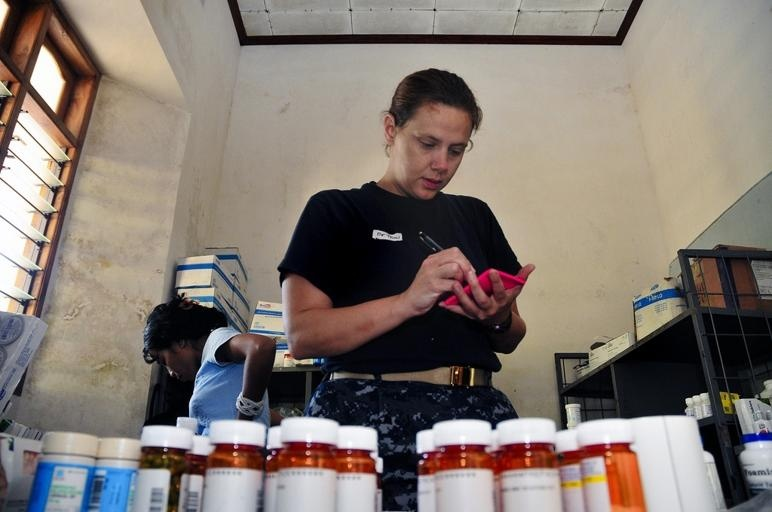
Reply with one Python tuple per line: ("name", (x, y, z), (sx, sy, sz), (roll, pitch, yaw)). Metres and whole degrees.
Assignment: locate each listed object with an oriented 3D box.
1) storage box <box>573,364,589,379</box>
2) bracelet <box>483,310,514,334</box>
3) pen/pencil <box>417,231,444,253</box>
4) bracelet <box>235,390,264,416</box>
("storage box", (1.302, 0.751, 3.282), (0.071, 0.093, 0.097), (5, -6, -42))
("bracelet", (0.330, 0.194, 1.395), (0.060, 0.066, 0.029), (-26, -56, 24))
("pen/pencil", (0.131, -0.043, 1.483), (0.021, 0.069, 0.018), (-33, -16, -51))
("bracelet", (-0.508, 0.548, 1.853), (0.077, 0.058, 0.095), (3, 1, 4))
